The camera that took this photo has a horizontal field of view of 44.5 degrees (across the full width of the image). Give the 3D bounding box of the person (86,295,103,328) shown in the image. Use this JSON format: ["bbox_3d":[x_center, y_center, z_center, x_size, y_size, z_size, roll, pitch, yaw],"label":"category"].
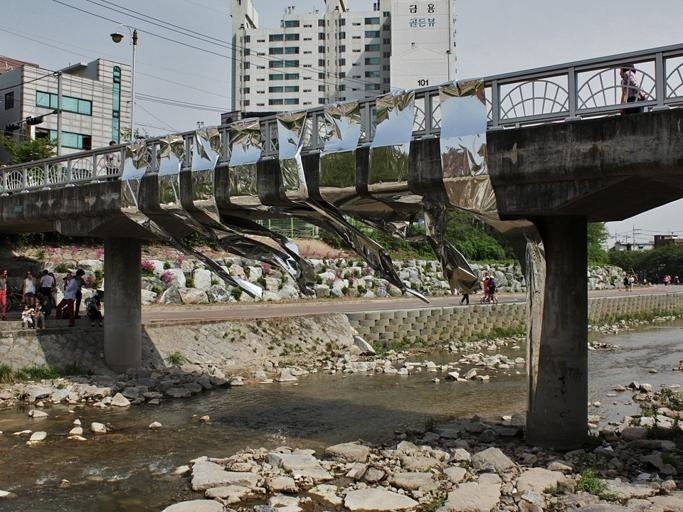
[{"bbox_3d":[-9.249,2.129,31.716,0.915,1.026,0.417,3,0,24],"label":"person"}]

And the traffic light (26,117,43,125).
[{"bbox_3d":[-20.527,-8.981,55.875,0.780,0.197,0.556,-12,6,-44],"label":"traffic light"}]

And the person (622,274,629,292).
[{"bbox_3d":[25.070,2.510,73.841,0.348,1.266,0.757,3,-5,14],"label":"person"}]

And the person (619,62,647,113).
[{"bbox_3d":[6.478,-3.807,18.634,0.597,1.142,2.649,3,6,19],"label":"person"}]
